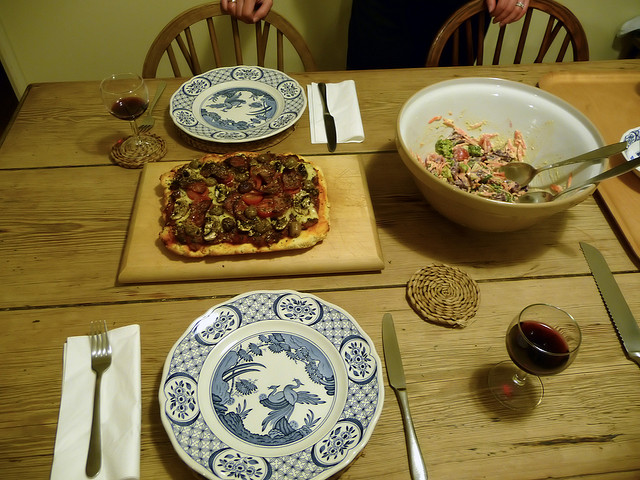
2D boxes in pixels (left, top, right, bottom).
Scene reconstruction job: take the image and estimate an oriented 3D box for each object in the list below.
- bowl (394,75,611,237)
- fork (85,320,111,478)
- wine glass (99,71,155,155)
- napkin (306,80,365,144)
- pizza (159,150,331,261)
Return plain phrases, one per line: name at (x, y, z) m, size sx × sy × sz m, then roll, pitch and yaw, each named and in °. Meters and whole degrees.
bowl at (0.590, -0.257, 1.675) m, size 0.645 × 0.294 × 0.607 m, roll 1°, pitch 51°, yaw -1°
fork at (-0.533, 0.388, 1.226) m, size 0.057 × 0.047 × 0.399 m, roll -3°, pitch 57°, yaw -13°
wine glass at (-0.682, -0.441, 1.780) m, size 0.158 × 0.263 × 0.147 m, roll -20°, pitch 50°, yaw -23°
napkin at (0.058, -0.497, 1.920) m, size 0.203 × 0.042 × 0.287 m, roll -2°, pitch 50°, yaw -4°
pizza at (-0.213, -0.112, 1.507) m, size 0.465 × 0.115 × 0.322 m, roll -3°, pitch 57°, yaw -4°
